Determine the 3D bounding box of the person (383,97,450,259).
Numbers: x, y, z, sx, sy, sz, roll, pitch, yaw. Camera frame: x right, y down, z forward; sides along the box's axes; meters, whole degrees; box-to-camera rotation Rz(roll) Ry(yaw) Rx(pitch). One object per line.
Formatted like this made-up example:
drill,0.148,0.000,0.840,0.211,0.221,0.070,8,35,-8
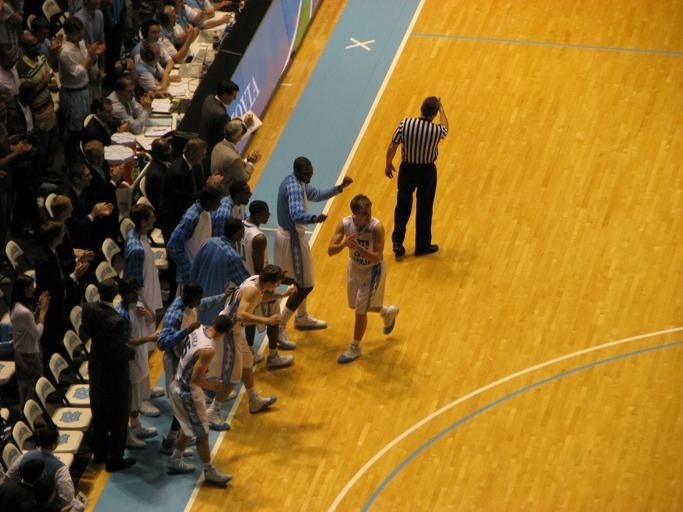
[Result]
person,0.951,-0.976,11.907,0.757,2.110,0.977,4,4,6

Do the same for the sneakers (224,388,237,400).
sneakers,-1.341,1.663,10.799,0.061,0.082,0.196,20,34,10

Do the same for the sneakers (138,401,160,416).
sneakers,-2.270,1.803,10.632,0.281,0.127,0.103,14,29,25

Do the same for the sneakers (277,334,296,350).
sneakers,-0.680,1.064,11.367,0.246,0.275,0.116,4,21,3

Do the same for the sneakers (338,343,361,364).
sneakers,0.088,1.175,11.204,0.337,0.255,0.163,-8,26,-6

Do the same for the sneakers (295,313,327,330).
sneakers,-0.400,0.840,11.618,0.448,0.238,0.181,-1,24,-4

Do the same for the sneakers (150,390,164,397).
sneakers,-2.213,1.653,10.808,0.160,0.118,0.065,-8,65,-16

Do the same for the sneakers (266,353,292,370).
sneakers,-0.766,1.304,11.077,0.271,0.186,0.169,-9,34,-8

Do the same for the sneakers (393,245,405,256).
sneakers,0.775,-0.050,12.288,0.150,0.108,0.155,-5,1,11

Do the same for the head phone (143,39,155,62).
head phone,-2.914,-3.051,13.589,0.199,0.223,0.218,15,44,7

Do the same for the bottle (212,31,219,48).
bottle,-2.051,-3.471,14.614,0.103,0.119,0.418,-18,19,-3

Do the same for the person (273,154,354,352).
person,-0.363,0.093,11.456,0.886,2.437,1.285,1,37,1

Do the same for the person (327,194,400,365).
person,0.257,0.330,10.887,0.590,2.076,1.036,5,4,24

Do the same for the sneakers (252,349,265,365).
sneakers,-1.046,1.262,11.244,0.187,0.203,0.096,-12,48,-12
